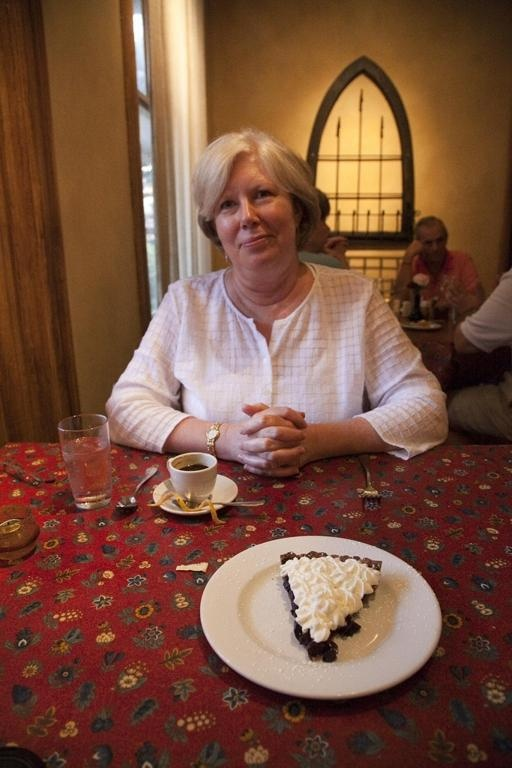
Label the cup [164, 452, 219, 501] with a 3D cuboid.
[{"bbox_3d":[-0.105,0.145,0.969,0.070,0.056,0.090,-8,15,-18],"label":"cup"}]

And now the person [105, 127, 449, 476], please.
[{"bbox_3d":[0.052,-0.214,1.332,0.748,0.675,0.641,12,23,32],"label":"person"}]

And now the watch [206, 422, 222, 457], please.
[{"bbox_3d":[-0.088,0.110,1.218,0.032,0.047,0.052,-4,60,20],"label":"watch"}]

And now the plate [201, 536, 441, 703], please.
[{"bbox_3d":[0.068,0.243,0.678,0.259,0.033,0.287,0,18,-1],"label":"plate"}]
